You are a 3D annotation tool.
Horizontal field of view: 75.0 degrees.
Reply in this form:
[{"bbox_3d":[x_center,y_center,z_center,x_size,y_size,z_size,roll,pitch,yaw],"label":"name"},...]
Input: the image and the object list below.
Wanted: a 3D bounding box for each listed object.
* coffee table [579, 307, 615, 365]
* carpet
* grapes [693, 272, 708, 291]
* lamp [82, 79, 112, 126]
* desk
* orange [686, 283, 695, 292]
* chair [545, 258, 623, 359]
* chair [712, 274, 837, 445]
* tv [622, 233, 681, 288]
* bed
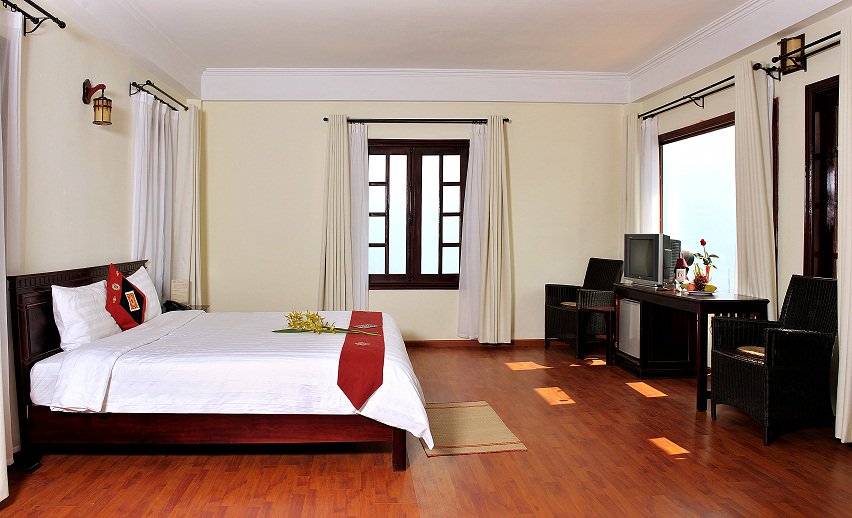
[{"bbox_3d":[2.387,0.908,7.681,0.360,0.378,0.359,11,-2,-44],"label":"coffee table"},{"bbox_3d":[0.427,1.694,5.658,0.958,0.176,0.992,2,5,-6],"label":"carpet"},{"bbox_3d":[3.146,0.278,6.403,0.168,0.217,0.164,1,1,-2],"label":"grapes"},{"bbox_3d":[-3.567,-1.712,6.106,0.267,0.484,0.381,2,6,-12],"label":"lamp"},{"bbox_3d":[3.431,1.050,6.913,0.829,1.162,1.977,-2,-2,5],"label":"desk"},{"bbox_3d":[3.054,0.316,6.423,0.080,0.056,0.075,2,-5,-37],"label":"orange"},{"bbox_3d":[2.301,0.632,8.042,0.818,1.225,0.915,-2,1,-16],"label":"chair"},{"bbox_3d":[3.586,0.941,5.685,1.240,1.373,1.170,-2,3,27],"label":"chair"},{"bbox_3d":[2.917,0.003,7.138,0.415,0.636,0.751,-1,4,-14],"label":"tv"},{"bbox_3d":[-2.432,1.130,5.371,2.376,1.152,2.304,0,0,-6],"label":"bed"}]
